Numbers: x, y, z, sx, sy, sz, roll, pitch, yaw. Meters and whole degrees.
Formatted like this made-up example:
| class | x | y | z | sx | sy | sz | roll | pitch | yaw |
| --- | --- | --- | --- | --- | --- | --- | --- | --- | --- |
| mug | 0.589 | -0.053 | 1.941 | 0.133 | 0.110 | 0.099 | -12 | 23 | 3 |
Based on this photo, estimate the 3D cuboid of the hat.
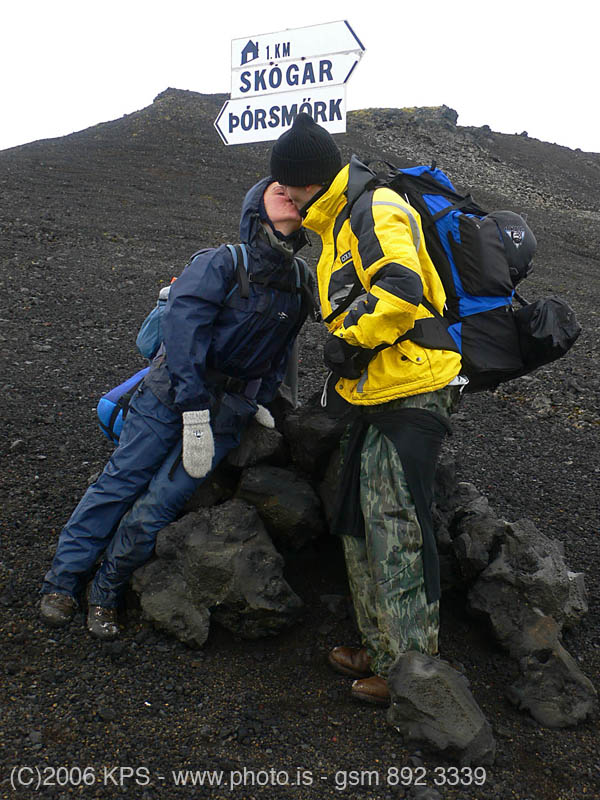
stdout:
| class | x | y | z | sx | sy | sz | roll | pitch | yaw |
| --- | --- | --- | --- | --- | --- | --- | --- | --- | --- |
| hat | 0.033 | -1.026 | 2.731 | 0.290 | 0.238 | 0.297 | 12 | 39 | 27 |

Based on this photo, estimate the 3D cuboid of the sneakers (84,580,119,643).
| class | x | y | z | sx | sy | sz | roll | pitch | yaw |
| --- | --- | --- | --- | --- | --- | --- | --- | --- | --- |
| sneakers | -0.868 | 0.938 | 3.025 | 0.097 | 0.118 | 0.275 | 20 | 17 | -45 |

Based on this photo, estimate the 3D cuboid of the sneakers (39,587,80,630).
| class | x | y | z | sx | sy | sz | roll | pitch | yaw |
| --- | --- | --- | --- | --- | --- | --- | --- | --- | --- |
| sneakers | -1.093 | 0.912 | 3.001 | 0.198 | 0.093 | 0.150 | 12 | 30 | 8 |

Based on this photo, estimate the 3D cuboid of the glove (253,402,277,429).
| class | x | y | z | sx | sy | sz | roll | pitch | yaw |
| --- | --- | --- | --- | --- | --- | --- | --- | --- | --- |
| glove | -0.170 | 0.083 | 3.356 | 0.038 | 0.124 | 0.086 | -15 | 26 | 37 |

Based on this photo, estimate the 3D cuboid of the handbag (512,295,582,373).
| class | x | y | z | sx | sy | sz | roll | pitch | yaw |
| --- | --- | --- | --- | --- | --- | --- | --- | --- | --- |
| handbag | 0.959 | -0.264 | 2.725 | 0.307 | 0.221 | 0.152 | -27 | -6 | 8 |

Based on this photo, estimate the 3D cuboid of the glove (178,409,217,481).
| class | x | y | z | sx | sy | sz | roll | pitch | yaw |
| --- | --- | --- | --- | --- | --- | --- | --- | --- | --- |
| glove | -0.448 | 0.196 | 2.986 | 0.151 | 0.358 | 0.245 | 5 | 31 | -6 |
